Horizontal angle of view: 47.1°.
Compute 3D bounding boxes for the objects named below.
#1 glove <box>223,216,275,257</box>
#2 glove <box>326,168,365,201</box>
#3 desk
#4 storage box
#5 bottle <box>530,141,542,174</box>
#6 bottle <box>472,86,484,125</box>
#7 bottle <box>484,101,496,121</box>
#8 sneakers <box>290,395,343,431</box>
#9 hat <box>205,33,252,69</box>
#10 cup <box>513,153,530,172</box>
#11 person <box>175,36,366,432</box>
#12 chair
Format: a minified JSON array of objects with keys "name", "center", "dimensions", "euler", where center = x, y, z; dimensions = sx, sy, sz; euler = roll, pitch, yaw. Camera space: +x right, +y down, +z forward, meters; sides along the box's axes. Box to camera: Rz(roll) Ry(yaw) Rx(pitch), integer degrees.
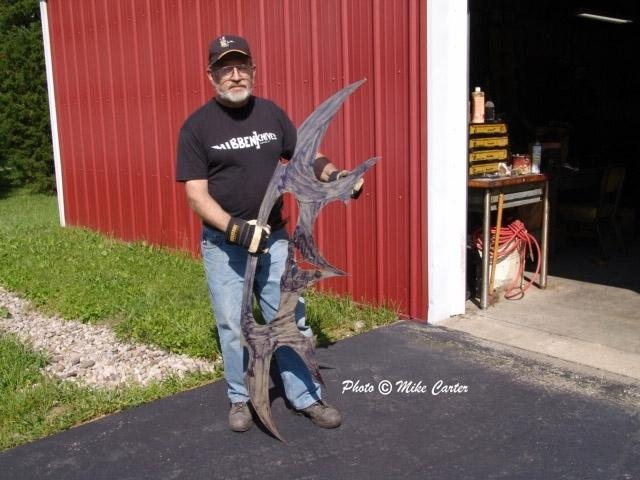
[{"name":"glove","center":[-0.487,-0.021,5.196],"dimensions":[0.365,0.190,0.347],"euler":[21,9,23]},{"name":"glove","center":[0.189,-0.395,5.366],"dimensions":[0.256,0.238,0.241],"euler":[-1,22,8]},{"name":"desk","center":[1.966,-0.056,7.419],"dimensions":[0.882,1.060,0.413],"euler":[-6,-7,-29]},{"name":"storage box","center":[1.861,0.243,7.596],"dimensions":[0.476,0.687,0.557],"euler":[-1,14,10]},{"name":"bottle","center":[2.289,-0.843,7.765],"dimensions":[0.098,0.288,0.414],"euler":[2,23,15]},{"name":"bottle","center":[1.640,-1.381,7.618],"dimensions":[0.124,0.319,0.279],"euler":[1,21,11]},{"name":"bottle","center":[1.809,-1.353,7.789],"dimensions":[0.100,0.188,0.133],"euler":[0,21,11]},{"name":"sneakers","center":[0.015,1.263,5.427],"dimensions":[0.294,0.158,0.161],"euler":[2,10,39]},{"name":"hat","center":[-0.670,-1.361,5.296],"dimensions":[0.252,0.244,0.466],"euler":[-7,8,-12]},{"name":"cup","center":[2.109,-0.789,7.654],"dimensions":[0.147,0.220,0.167],"euler":[0,0,21]},{"name":"person","center":[-0.317,0.000,5.445],"dimensions":[1.175,3.035,0.919],"euler":[-6,13,-16]},{"name":"chair","center":[3.334,-0.432,8.979],"dimensions":[0.728,1.208,1.239],"euler":[6,24,25]}]
